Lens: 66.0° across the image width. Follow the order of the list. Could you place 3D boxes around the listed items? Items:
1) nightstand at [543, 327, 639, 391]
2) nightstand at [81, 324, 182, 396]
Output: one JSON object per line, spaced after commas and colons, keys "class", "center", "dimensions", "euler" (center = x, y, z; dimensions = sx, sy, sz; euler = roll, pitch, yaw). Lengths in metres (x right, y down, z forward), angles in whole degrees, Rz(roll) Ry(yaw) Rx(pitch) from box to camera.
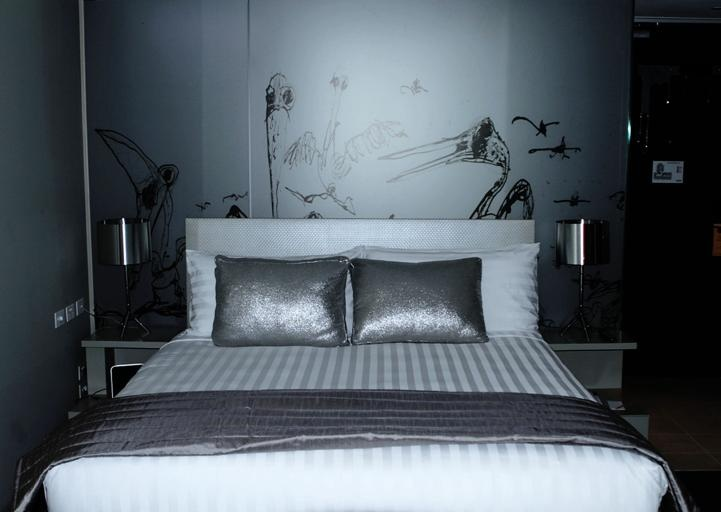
{"class": "nightstand", "center": [1.572, 0.711, 3.795], "dimensions": [0.616, 0.327, 0.348], "euler": [-1, 8, 7]}
{"class": "nightstand", "center": [-1.571, 0.777, 3.881], "dimensions": [0.502, 0.316, 0.280], "euler": [5, -17, -39]}
